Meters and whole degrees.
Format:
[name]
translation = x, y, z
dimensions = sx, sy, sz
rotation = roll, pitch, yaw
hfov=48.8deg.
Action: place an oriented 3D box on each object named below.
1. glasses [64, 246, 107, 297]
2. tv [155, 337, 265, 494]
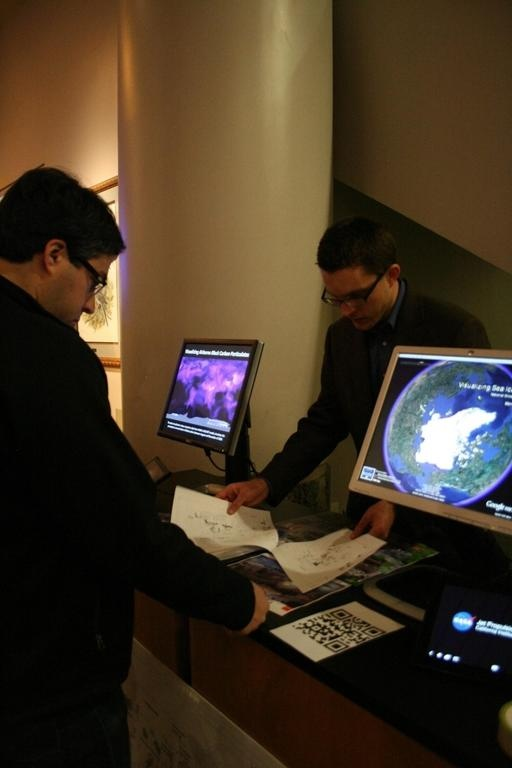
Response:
[glasses]
translation = -0.301, -0.195, 0.982
dimensions = 0.048, 0.015, 0.049
rotation = 46, -15, 14
[tv]
translation = -0.133, 0.101, 1.798
dimensions = 0.246, 0.424, 0.492
rotation = 4, -3, -41
